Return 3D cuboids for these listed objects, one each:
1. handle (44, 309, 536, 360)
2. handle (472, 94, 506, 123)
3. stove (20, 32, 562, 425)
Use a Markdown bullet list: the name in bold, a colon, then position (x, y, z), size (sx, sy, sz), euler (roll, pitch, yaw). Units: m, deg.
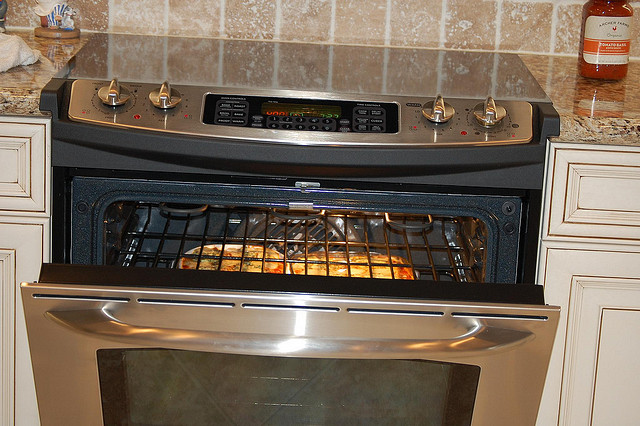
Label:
- **handle**: position (-0.057, 0.209, 1.208), size (1.033, 0.126, 0.109), euler (0, -1, 4)
- **handle**: position (0.383, -0.238, 1.291), size (0.058, 0.025, 0.071), euler (2, 32, 8)
- **stove**: position (-0.031, 0.191, 1.704), size (1.334, 1.157, 0.939), euler (1, 27, 2)
